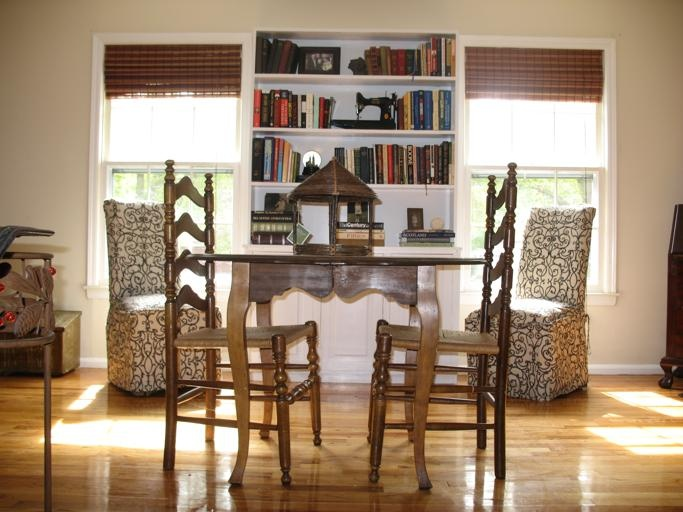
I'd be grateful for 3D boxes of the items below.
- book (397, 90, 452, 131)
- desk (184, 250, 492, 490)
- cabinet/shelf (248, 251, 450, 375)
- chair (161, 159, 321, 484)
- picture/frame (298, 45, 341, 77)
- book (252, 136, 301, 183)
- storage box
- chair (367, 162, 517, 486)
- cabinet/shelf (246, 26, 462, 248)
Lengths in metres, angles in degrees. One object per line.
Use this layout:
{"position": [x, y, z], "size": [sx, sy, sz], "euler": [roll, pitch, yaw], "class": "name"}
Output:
{"position": [0.652, -1.112, 5.389], "size": [0.497, 0.373, 0.287], "euler": [0, 1, -1], "class": "book"}
{"position": [-0.002, 0.585, 4.106], "size": [1.557, 1.210, 0.832], "euler": [1, 3, 4], "class": "desk"}
{"position": [0.075, 0.347, 4.327], "size": [0.881, 0.661, 0.295], "euler": [-1, -6, 3], "class": "cabinet/shelf"}
{"position": [-0.560, 0.358, 4.082], "size": [0.877, 1.684, 0.890], "euler": [0, 1, -2], "class": "chair"}
{"position": [-0.171, -1.505, 5.423], "size": [0.249, 0.181, 0.011], "euler": [-1, -5, 2], "class": "picture/frame"}
{"position": [-0.472, -0.693, 5.471], "size": [0.433, 0.422, 0.313], "euler": [1, -1, -2], "class": "book"}
{"position": [-2.276, 0.610, 5.312], "size": [0.511, 0.389, 0.511], "euler": [0, 1, -2], "class": "storage box"}
{"position": [0.605, 0.379, 4.237], "size": [0.805, 1.652, 0.892], "euler": [-1, 3, 1], "class": "chair"}
{"position": [0.085, -0.957, 5.296], "size": [1.687, 1.887, 0.484], "euler": [0, -5, 0], "class": "cabinet/shelf"}
